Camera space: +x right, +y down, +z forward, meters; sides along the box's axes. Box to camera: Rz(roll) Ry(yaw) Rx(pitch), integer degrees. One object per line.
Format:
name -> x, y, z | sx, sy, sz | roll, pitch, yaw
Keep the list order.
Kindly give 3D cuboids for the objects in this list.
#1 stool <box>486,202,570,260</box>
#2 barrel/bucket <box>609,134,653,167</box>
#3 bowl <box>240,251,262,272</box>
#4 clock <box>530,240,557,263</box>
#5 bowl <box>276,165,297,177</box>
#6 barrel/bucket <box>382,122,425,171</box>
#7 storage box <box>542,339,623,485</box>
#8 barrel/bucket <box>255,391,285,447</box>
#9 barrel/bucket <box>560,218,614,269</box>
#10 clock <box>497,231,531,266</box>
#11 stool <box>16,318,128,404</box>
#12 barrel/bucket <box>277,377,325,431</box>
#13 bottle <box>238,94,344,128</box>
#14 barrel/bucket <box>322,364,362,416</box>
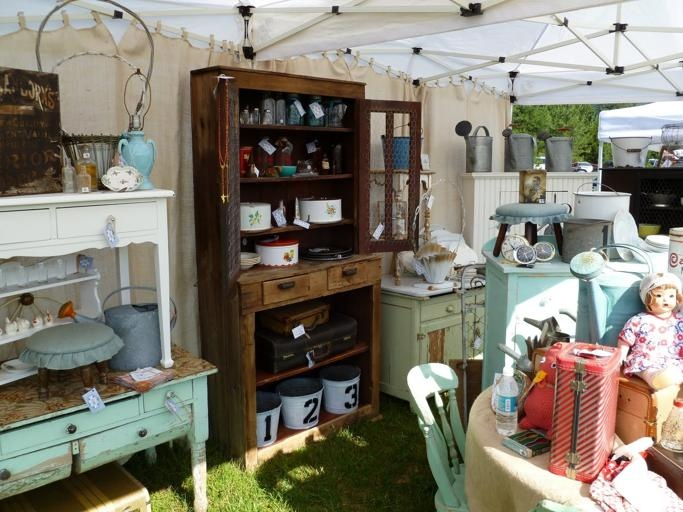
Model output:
stool -> 1.248, -0.184, 3.561 | 0.407, 0.285, 0.414 | 2, 3, 28
barrel/bucket -> 3.662, -1.298, 6.842 | 0.422, 0.341, 0.419 | -1, 8, 0
bowl -> -0.659, 0.040, 3.961 | 0.142, 0.112, 0.242 | -2, 10, -6
clock -> 1.302, -0.029, 3.494 | 0.134, 0.131, 0.031 | 3, -2, -1
bowl -> -0.409, -0.640, 4.113 | 0.145, 0.082, 0.184 | -1, 10, -2
barrel/bucket -> 0.504, -0.908, 4.532 | 0.383, 0.282, 0.339 | 2, 5, 21
storage box -> 1.007, 0.659, 2.231 | 0.274, 0.493, 0.172 | 1, 10, 11
barrel/bucket -> -0.554, 1.236, 4.109 | 0.275, 0.257, 0.281 | -1, -1, 0
barrel/bucket -> 1.496, -0.069, 3.338 | 0.248, 0.262, 0.296 | -2, 6, -28
clock -> 1.103, -0.043, 3.437 | 0.188, 0.185, 0.044 | 39, 9, 33
stool -> -1.407, 0.473, 2.842 | 0.404, 0.205, 0.403 | 18, 29, 27
barrel/bucket -> -0.325, 1.164, 4.336 | 0.349, 0.260, 0.333 | 0, 2, 0
bottle -> -0.345, -1.098, 4.136 | 0.953, 0.237, 0.240 | -10, 14, -43
barrel/bucket -> 0.006, 1.105, 4.527 | 0.348, 0.285, 0.334 | -1, 2, 0
